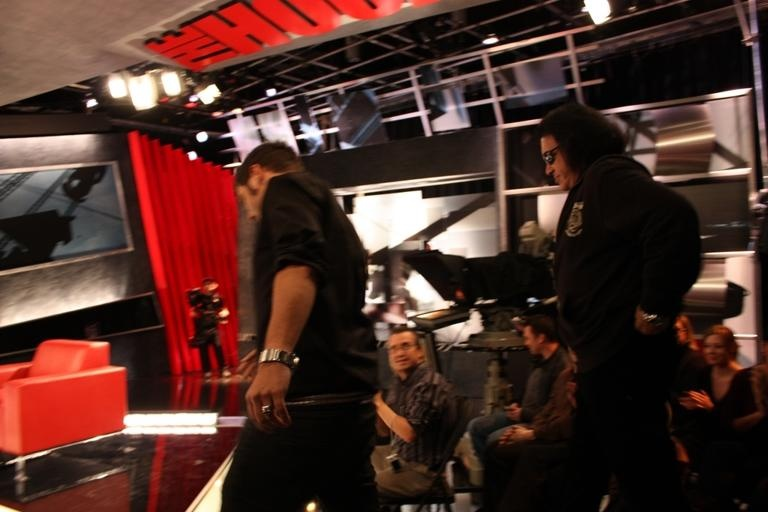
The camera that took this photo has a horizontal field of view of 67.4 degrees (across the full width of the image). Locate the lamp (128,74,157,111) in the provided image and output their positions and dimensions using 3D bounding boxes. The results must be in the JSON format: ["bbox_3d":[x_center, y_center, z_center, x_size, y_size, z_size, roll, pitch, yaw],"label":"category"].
[{"bbox_3d":[-2.162,-1.492,5.214,0.363,0.229,0.137,-3,7,37],"label":"lamp"}]

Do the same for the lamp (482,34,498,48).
[{"bbox_3d":[0.798,-1.618,4.307,0.113,0.030,0.131,3,-7,-4],"label":"lamp"}]

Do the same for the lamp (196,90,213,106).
[{"bbox_3d":[-1.641,-1.451,5.245,0.189,0.046,0.152,-18,-33,-38],"label":"lamp"}]

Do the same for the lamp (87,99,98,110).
[{"bbox_3d":[-3.510,-1.834,6.903,0.132,0.087,0.292,-8,5,-25],"label":"lamp"}]

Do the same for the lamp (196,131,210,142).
[{"bbox_3d":[-2.389,-1.572,7.560,0.123,0.108,0.114,-32,7,0],"label":"lamp"}]

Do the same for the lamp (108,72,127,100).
[{"bbox_3d":[-2.449,-1.561,5.292,0.154,0.164,0.199,-9,5,-24],"label":"lamp"}]

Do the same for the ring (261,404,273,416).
[{"bbox_3d":[-0.439,0.580,2.169,0.055,0.038,0.036,2,-10,-9],"label":"ring"}]

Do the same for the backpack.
[{"bbox_3d":[1.210,-0.071,2.446,0.237,0.500,0.132,-12,6,-32],"label":"backpack"}]

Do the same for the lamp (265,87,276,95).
[{"bbox_3d":[-1.056,-1.535,5.395,0.104,0.044,0.068,-6,4,-9],"label":"lamp"}]

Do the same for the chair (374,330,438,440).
[{"bbox_3d":[0.108,0.787,3.546,0.484,0.552,0.238,-34,-37,29],"label":"chair"}]

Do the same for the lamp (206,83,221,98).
[{"bbox_3d":[-1.559,-1.521,5.279,0.149,0.096,0.029,8,-2,-10],"label":"lamp"}]

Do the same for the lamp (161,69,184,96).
[{"bbox_3d":[-1.861,-1.530,5.074,0.281,0.155,0.099,-3,7,32],"label":"lamp"}]
